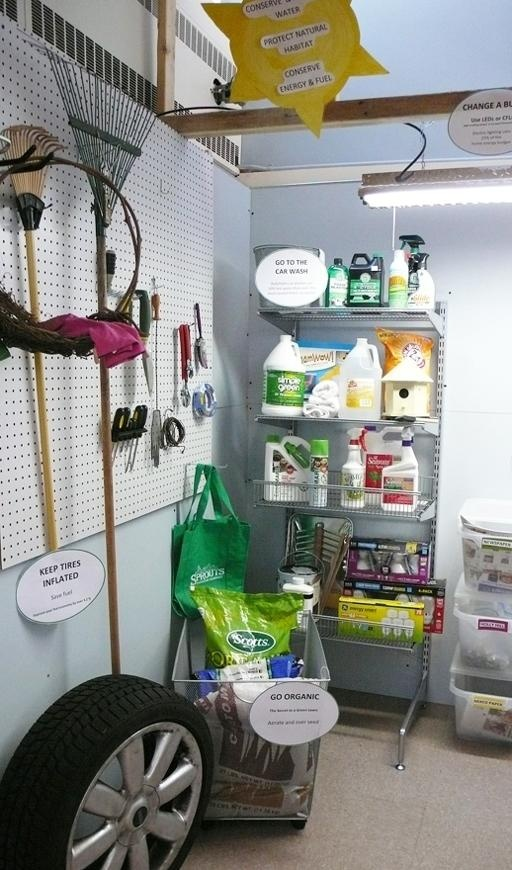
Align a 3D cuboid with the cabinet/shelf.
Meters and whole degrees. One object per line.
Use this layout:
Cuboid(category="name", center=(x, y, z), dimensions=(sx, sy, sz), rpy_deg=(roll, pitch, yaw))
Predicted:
Cuboid(category="cabinet/shelf", center=(0.332, 0.303, 2.439), dimensions=(0.742, 1.564, 0.556), rpy_deg=(1, 1, 18))
